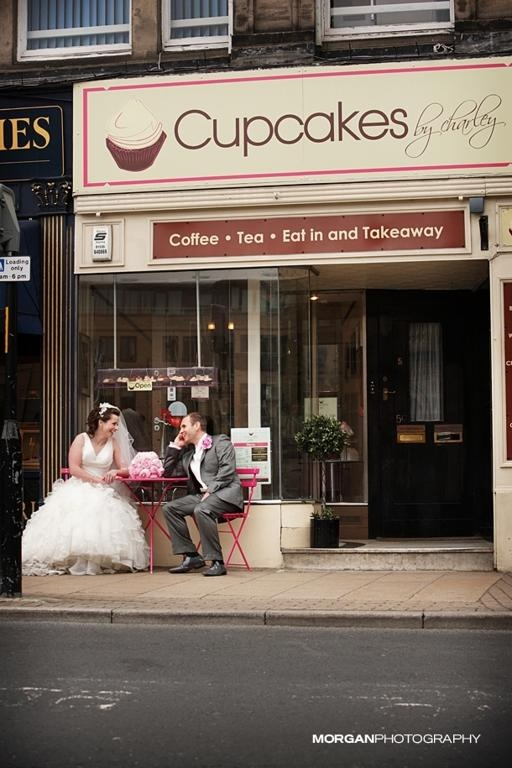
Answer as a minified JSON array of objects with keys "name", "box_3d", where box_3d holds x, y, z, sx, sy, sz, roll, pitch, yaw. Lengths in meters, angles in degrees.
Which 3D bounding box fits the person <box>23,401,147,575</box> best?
[{"name":"person","box_3d":[-1.706,1.051,10.799,1.296,1.694,0.933,0,-2,-21]}]

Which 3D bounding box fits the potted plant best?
[{"name":"potted plant","box_3d":[0.711,0.989,11.247,0.607,1.362,0.554,-1,-5,12]}]

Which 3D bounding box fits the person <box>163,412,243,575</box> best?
[{"name":"person","box_3d":[-0.562,1.092,10.703,0.785,1.594,1.150,0,-2,-19]}]

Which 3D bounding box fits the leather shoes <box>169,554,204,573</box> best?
[{"name":"leather shoes","box_3d":[-0.647,1.800,10.680,0.439,0.213,0.150,-5,-2,-8]}]

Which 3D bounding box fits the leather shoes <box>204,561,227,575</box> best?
[{"name":"leather shoes","box_3d":[-0.391,1.787,10.325,0.104,0.129,0.279,-4,-9,24]}]
